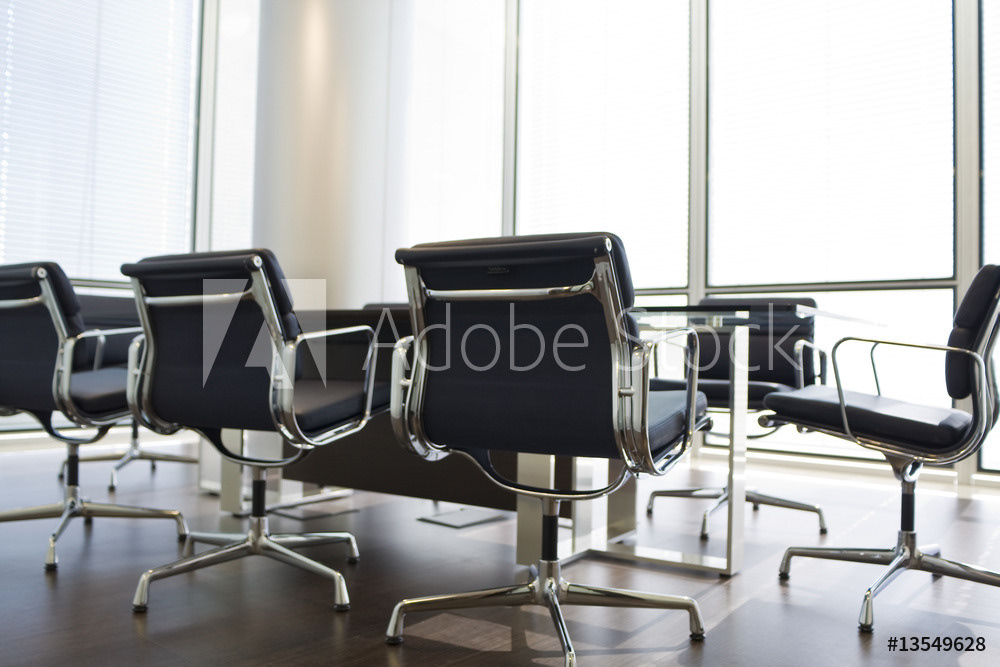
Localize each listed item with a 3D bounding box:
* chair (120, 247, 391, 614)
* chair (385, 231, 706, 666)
[{"bbox_3d":[-1.193,0.415,4.234,1.160,1.665,0.791,-2,8,-9],"label":"chair"},{"bbox_3d":[0.276,0.502,4.337,1.668,2.185,1.693,-1,-3,24],"label":"chair"}]
